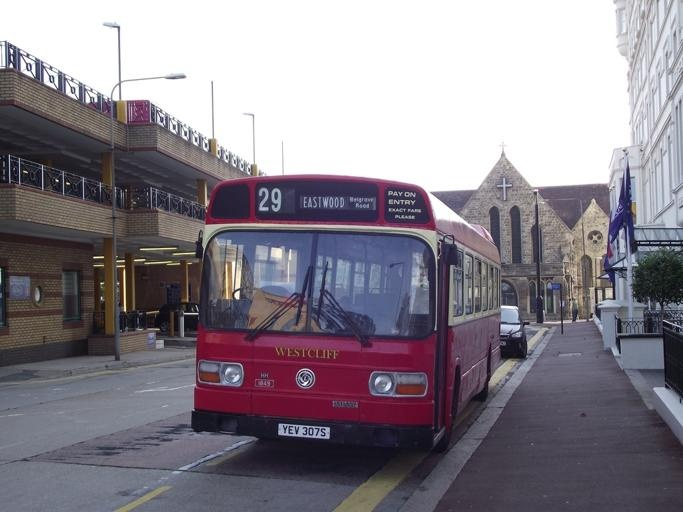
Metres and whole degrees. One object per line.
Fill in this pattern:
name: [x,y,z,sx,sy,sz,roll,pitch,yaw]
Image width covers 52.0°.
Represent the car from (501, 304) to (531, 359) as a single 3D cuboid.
car: [6.286,2.792,25.581,1.217,1.338,2.621,-3,-11,14]
